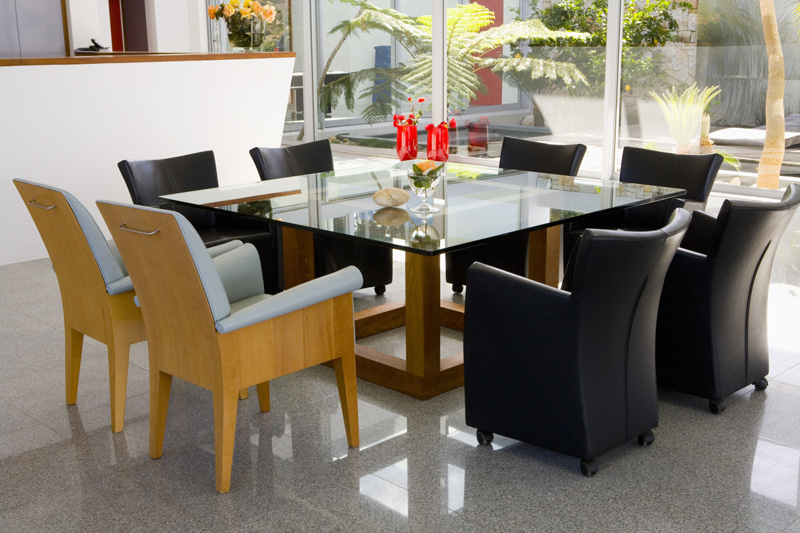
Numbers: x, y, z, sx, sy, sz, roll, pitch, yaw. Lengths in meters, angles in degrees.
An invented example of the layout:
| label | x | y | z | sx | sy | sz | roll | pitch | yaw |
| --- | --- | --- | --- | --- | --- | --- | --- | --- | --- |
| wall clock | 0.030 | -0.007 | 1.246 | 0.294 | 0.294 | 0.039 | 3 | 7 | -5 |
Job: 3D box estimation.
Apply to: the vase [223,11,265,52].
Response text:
| label | x | y | z | sx | sy | sz | roll | pitch | yaw |
| --- | --- | --- | --- | --- | --- | --- | --- | --- | --- |
| vase | -1.712 | -2.649 | 6.632 | 0.492 | 0.421 | 0.531 | 7 | 32 | 2 |

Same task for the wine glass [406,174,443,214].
| label | x | y | z | sx | sy | sz | roll | pitch | yaw |
| --- | --- | --- | --- | --- | --- | --- | --- | --- | --- |
| wine glass | 0.154 | -0.450 | 3.698 | 0.213 | 0.214 | 0.213 | 0 | 17 | -3 |

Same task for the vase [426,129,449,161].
| label | x | y | z | sx | sy | sz | roll | pitch | yaw |
| --- | --- | --- | --- | --- | --- | --- | --- | --- | --- |
| vase | 0.290 | -0.970 | 4.702 | 0.217 | 0.266 | 0.208 | -5 | 15 | -24 |

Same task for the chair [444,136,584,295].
| label | x | y | z | sx | sy | sz | roll | pitch | yaw |
| --- | --- | --- | --- | --- | --- | --- | --- | --- | --- |
| chair | 0.895 | -0.391 | 4.226 | 0.786 | 1.366 | 0.971 | 7 | -8 | 16 |

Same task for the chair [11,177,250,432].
| label | x | y | z | sx | sy | sz | roll | pitch | yaw |
| --- | --- | --- | --- | --- | --- | --- | --- | --- | --- |
| chair | -1.450 | 0.150 | 3.268 | 0.968 | 1.189 | 0.928 | -4 | 12 | -33 |

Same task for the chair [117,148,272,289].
| label | x | y | z | sx | sy | sz | roll | pitch | yaw |
| --- | --- | --- | --- | --- | --- | --- | --- | --- | --- |
| chair | -1.350 | -0.267 | 4.025 | 0.874 | 0.932 | 0.773 | 8 | 21 | 23 |

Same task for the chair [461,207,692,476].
| label | x | y | z | sx | sy | sz | roll | pitch | yaw |
| --- | --- | --- | --- | --- | --- | --- | --- | --- | --- |
| chair | 0.814 | 0.296 | 2.800 | 0.786 | 1.104 | 0.865 | -7 | 12 | -26 |

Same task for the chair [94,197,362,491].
| label | x | y | z | sx | sy | sz | roll | pitch | yaw |
| --- | --- | --- | --- | --- | --- | --- | --- | --- | --- |
| chair | -0.818 | 0.113 | 3.176 | 1.153 | 1.612 | 1.298 | 13 | 19 | 42 |

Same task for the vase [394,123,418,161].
| label | x | y | z | sx | sy | sz | roll | pitch | yaw |
| --- | --- | --- | --- | --- | --- | --- | --- | --- | --- |
| vase | 0.042 | -0.941 | 4.526 | 0.188 | 0.260 | 0.186 | -8 | 11 | -17 |
